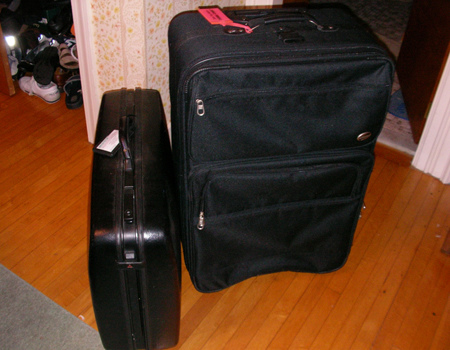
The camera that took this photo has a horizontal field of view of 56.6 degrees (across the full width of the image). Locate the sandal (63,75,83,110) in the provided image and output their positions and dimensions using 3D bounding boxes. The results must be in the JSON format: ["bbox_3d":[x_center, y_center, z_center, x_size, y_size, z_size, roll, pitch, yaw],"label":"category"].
[{"bbox_3d":[-0.847,-0.457,2.330,0.109,0.148,0.137,-13,38,-15],"label":"sandal"}]

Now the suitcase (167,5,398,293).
[{"bbox_3d":[0.163,-0.067,1.513,0.705,0.894,0.406,-9,36,-10],"label":"suitcase"}]

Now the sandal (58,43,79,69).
[{"bbox_3d":[-0.887,-0.651,2.386,0.098,0.173,0.058,-7,10,-9],"label":"sandal"}]

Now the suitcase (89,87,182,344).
[{"bbox_3d":[-0.275,0.147,1.291,0.256,0.683,0.698,-3,70,-2],"label":"suitcase"}]

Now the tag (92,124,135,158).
[{"bbox_3d":[-0.359,-0.097,1.352,0.078,0.023,0.117,16,38,11],"label":"tag"}]
